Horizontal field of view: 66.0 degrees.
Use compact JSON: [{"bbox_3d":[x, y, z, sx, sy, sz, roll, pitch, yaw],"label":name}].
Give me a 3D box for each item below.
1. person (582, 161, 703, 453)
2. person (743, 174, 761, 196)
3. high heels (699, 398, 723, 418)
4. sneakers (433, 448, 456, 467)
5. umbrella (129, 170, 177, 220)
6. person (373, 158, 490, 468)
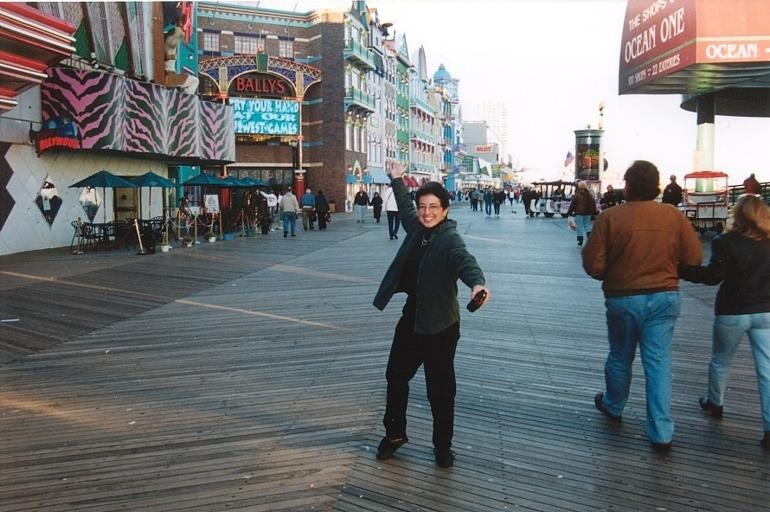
[{"bbox_3d":[2.461,0.412,5.790,0.861,2.643,0.688,7,12,41],"label":"person"},{"bbox_3d":[13.919,-2.680,22.531,0.426,0.768,3.146,4,11,29],"label":"person"},{"bbox_3d":[3.383,1.577,6.183,0.085,0.091,0.228,-2,12,-6],"label":"high heels"},{"bbox_3d":[0.538,1.791,5.355,0.202,0.261,0.145,-4,-7,11],"label":"sneakers"},{"bbox_3d":[-8.452,-2.176,21.543,1.795,1.755,1.748,-2,10,-7],"label":"umbrella"},{"bbox_3d":[0.410,0.600,5.336,1.038,2.508,0.937,2,9,18],"label":"person"}]
